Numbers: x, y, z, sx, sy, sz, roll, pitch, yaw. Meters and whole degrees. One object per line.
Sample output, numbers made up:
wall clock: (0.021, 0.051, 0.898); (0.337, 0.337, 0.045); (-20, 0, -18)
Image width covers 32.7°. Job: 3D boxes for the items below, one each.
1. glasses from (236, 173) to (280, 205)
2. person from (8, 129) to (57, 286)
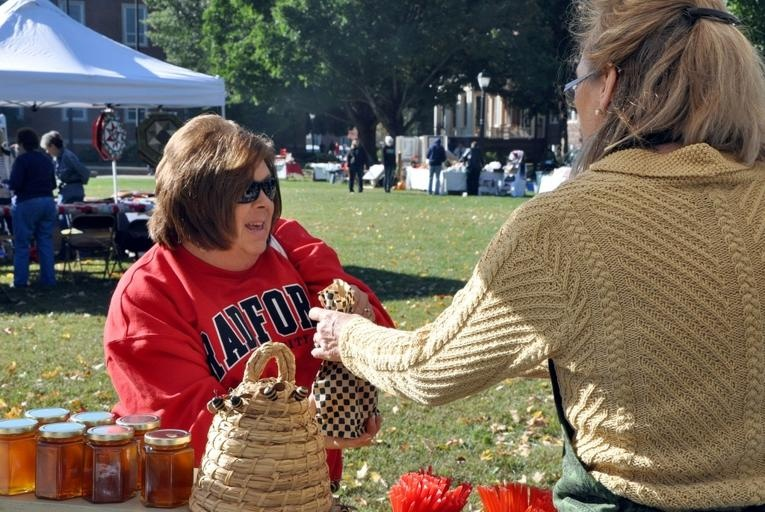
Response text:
glasses: (-1.006, -0.560, 10.773); (0.224, 0.110, 0.234); (-22, 3, 42)
person: (-4.683, -0.637, 17.593); (0.619, 2.190, 1.023); (2, 5, -15)
